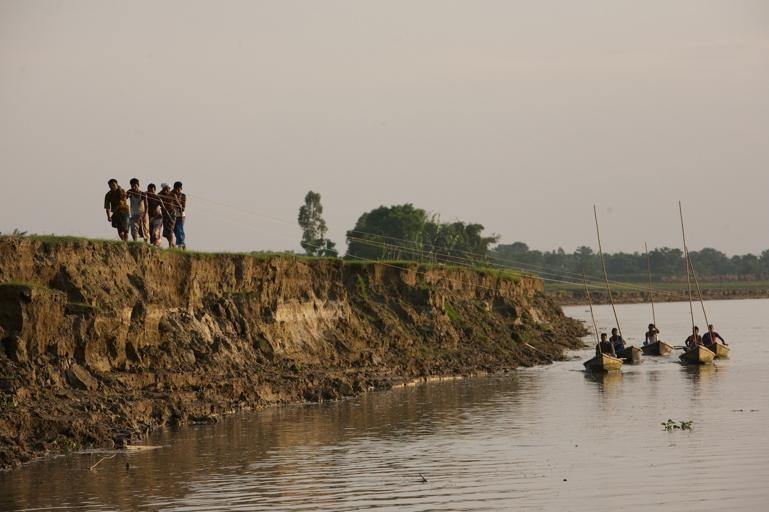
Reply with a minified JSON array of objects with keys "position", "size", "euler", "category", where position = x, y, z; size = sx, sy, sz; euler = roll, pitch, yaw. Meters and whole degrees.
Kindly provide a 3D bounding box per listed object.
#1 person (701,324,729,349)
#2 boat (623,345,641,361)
[{"position":[19.758,5.030,101.165],"size":[1.334,2.011,0.642],"euler":[7,31,38],"category":"person"},{"position":[13.504,5.533,92.843],"size":[0.801,0.639,1.768],"euler":[0,-5,8],"category":"boat"}]
